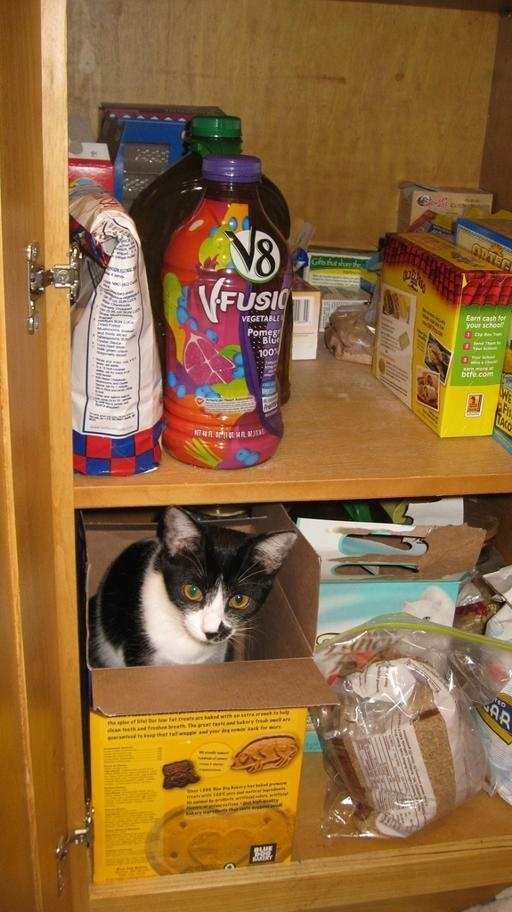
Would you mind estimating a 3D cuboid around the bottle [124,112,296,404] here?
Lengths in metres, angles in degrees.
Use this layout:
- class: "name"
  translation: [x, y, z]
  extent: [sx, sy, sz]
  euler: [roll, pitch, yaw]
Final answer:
- class: "bottle"
  translation: [-0.045, -0.231, 0.874]
  extent: [0.192, 0.352, 0.203]
  euler: [1, 36, -1]

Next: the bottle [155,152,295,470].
- class: "bottle"
  translation: [-0.025, -0.119, 0.616]
  extent: [0.115, 0.265, 0.092]
  euler: [3, 21, -4]

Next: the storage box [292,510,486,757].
- class: "storage box"
  translation: [0.191, 0.228, 0.888]
  extent: [0.176, 0.318, 0.103]
  euler: [-4, 9, 20]

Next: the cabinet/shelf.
- class: "cabinet/shelf"
  translation: [0.022, 0.245, 0.900]
  extent: [0.512, 0.586, 0.562]
  euler: [1, -10, -18]
